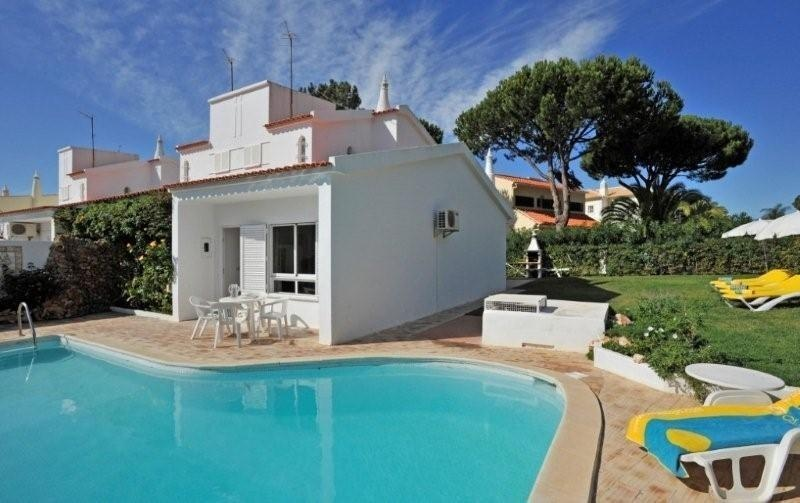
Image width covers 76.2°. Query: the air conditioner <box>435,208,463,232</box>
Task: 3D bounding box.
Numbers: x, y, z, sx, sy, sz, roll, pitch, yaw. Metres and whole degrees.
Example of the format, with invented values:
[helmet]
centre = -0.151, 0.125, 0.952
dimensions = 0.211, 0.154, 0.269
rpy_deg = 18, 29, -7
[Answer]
[air conditioner]
centre = 2.168, -1.243, 21.968
dimensions = 0.804, 1.138, 1.502
rpy_deg = -1, -2, 37
